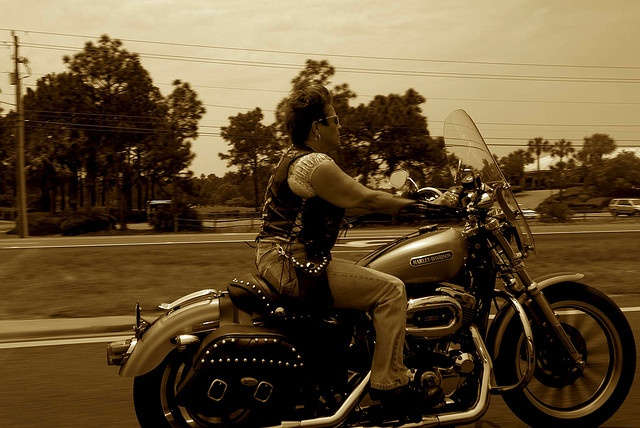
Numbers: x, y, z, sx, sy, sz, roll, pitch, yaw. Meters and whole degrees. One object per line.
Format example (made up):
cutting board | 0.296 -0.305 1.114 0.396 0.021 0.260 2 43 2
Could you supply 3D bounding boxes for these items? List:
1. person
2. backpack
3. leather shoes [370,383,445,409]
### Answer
person | 0.111 0.232 5.546 1.282 2.281 0.396 -3 -1 -5
backpack | -0.649 1.199 5.363 0.945 0.395 0.702 1 2 -7
leather shoes | 0.715 1.451 5.598 0.682 0.232 0.206 7 -2 -11
